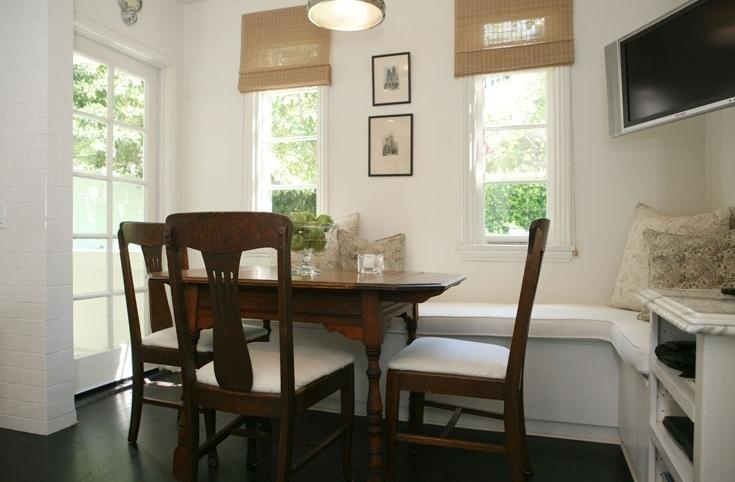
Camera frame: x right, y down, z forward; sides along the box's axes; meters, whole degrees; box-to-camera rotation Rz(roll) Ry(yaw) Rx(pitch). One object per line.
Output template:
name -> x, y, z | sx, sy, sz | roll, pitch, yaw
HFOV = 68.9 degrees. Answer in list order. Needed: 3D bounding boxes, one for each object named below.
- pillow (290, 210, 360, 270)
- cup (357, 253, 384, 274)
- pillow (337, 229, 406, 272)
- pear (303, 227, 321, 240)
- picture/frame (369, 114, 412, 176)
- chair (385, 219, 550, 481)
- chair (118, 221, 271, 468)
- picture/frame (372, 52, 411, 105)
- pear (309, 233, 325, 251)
pillow -> -0.219, -0.035, 4.595 | 0.407, 0.499, 0.144 | 8, 7, 9
cup -> 0.028, 0.144, 3.474 | 0.124, 0.087, 0.129 | 1, -1, 0
pillow -> 0.024, 0.075, 4.544 | 0.537, 0.359, 0.102 | -1, 24, 1
pear -> -0.354, -0.052, 3.511 | 0.088, 0.053, 0.078 | 0, 0, 18
picture/frame -> 0.222, -0.863, 4.746 | 0.527, 0.724, 0.025 | -1, -3, 11
chair -> 0.568, 0.665, 3.139 | 0.889, 1.601, 0.511 | 1, 6, 15
chair -> -1.207, 0.602, 3.758 | 0.950, 1.433, 0.941 | 0, 1, -3
picture/frame -> 0.228, -1.450, 4.743 | 0.460, 0.592, 0.038 | -1, -3, 14
pear -> -0.327, -0.004, 3.578 | 0.107, 0.111, 0.111 | 7, 7, 39
